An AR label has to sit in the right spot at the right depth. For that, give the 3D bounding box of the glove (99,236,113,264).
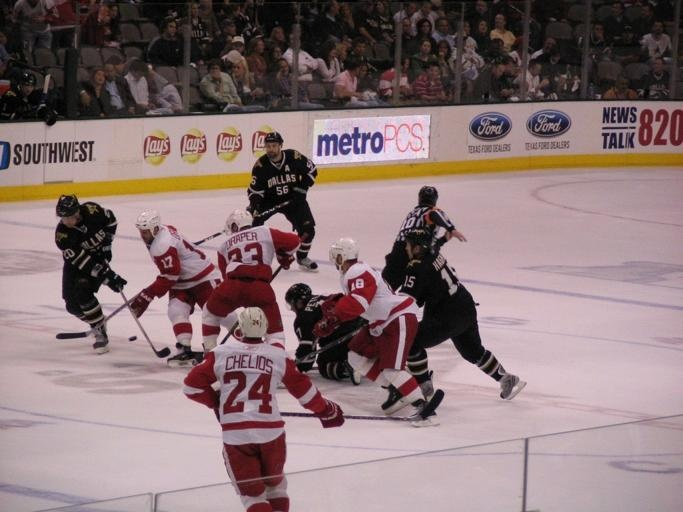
[{"bbox_3d":[-2.046,-0.052,7.067,0.081,0.189,0.148,11,9,-9],"label":"glove"}]

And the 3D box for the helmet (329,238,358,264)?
[{"bbox_3d":[0.030,-0.038,5.926,0.209,0.173,0.197,21,21,35],"label":"helmet"}]

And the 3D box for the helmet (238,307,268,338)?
[{"bbox_3d":[-0.471,0.361,4.406,0.156,0.149,0.184,0,16,-4],"label":"helmet"}]

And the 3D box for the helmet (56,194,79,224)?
[{"bbox_3d":[-2.278,-0.418,6.770,0.217,0.233,0.232,-1,-33,-7],"label":"helmet"}]

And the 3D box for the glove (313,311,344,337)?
[{"bbox_3d":[-0.098,0.518,5.907,0.133,0.086,0.223,27,-46,-32],"label":"glove"}]

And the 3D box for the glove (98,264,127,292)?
[{"bbox_3d":[-1.957,0.202,6.918,0.109,0.289,0.161,-47,7,50],"label":"glove"}]

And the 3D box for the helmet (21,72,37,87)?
[{"bbox_3d":[-4.281,-2.421,11.044,0.204,0.241,0.212,-3,6,-21],"label":"helmet"}]

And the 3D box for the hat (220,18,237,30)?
[{"bbox_3d":[-1.748,-3.619,12.596,0.146,0.108,0.213,14,47,45],"label":"hat"}]

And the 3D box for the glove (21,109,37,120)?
[{"bbox_3d":[-4.260,-1.942,11.006,0.215,0.123,0.034,-2,6,-18],"label":"glove"}]

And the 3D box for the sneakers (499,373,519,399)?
[{"bbox_3d":[1.309,1.022,6.274,0.144,0.183,0.061,18,34,-16],"label":"sneakers"}]

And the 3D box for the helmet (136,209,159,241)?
[{"bbox_3d":[-1.600,-0.237,6.616,0.166,0.248,0.202,-6,8,-44],"label":"helmet"}]

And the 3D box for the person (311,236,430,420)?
[{"bbox_3d":[0.232,0.552,5.895,0.992,1.318,0.749,-6,-7,29],"label":"person"}]

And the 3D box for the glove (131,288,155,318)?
[{"bbox_3d":[-1.658,0.395,6.684,0.152,0.241,0.073,34,25,-1],"label":"glove"}]

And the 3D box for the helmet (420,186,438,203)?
[{"bbox_3d":[0.839,-0.587,7.798,0.184,0.175,0.186,6,3,2],"label":"helmet"}]

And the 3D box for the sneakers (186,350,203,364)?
[{"bbox_3d":[-1.204,0.844,6.677,0.133,0.109,0.095,1,1,-23],"label":"sneakers"}]

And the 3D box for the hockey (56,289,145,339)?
[{"bbox_3d":[-2.158,0.539,7.214,0.831,0.125,0.160,-22,-43,16],"label":"hockey"}]

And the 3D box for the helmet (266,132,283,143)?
[{"bbox_3d":[-0.771,-1.355,9.255,0.181,0.135,0.237,0,5,10],"label":"helmet"}]

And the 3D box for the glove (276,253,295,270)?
[{"bbox_3d":[-0.483,0.054,7.070,0.125,0.127,0.149,-4,-7,-3],"label":"glove"}]

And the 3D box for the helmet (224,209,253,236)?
[{"bbox_3d":[-0.848,-0.290,6.892,0.203,0.202,0.249,-17,25,-41],"label":"helmet"}]

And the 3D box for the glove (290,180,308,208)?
[{"bbox_3d":[-0.485,-0.721,9.507,0.198,0.228,0.257,3,-1,-26],"label":"glove"}]

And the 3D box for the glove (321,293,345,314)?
[{"bbox_3d":[-0.078,0.349,6.082,0.181,0.067,0.126,-28,21,13],"label":"glove"}]
